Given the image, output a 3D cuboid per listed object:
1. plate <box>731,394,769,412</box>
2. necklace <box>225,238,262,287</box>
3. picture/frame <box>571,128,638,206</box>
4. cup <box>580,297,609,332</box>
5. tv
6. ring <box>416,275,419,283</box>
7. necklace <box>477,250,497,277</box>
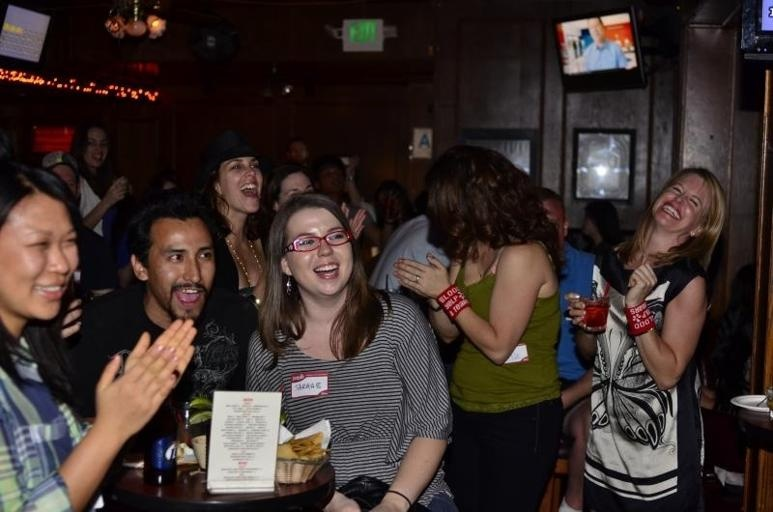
[{"bbox_3d":[2.067,0.836,3.525,0.179,0.064,0.244,1,4,28],"label":"plate"},{"bbox_3d":[-1.031,0.046,4.444,0.177,0.349,0.072,-8,-20,-46],"label":"necklace"},{"bbox_3d":[2.520,-1.005,7.046,0.923,1.139,0.075,1,1,4],"label":"picture/frame"},{"bbox_3d":[1.171,0.334,3.442,0.200,0.203,0.107,-3,5,-27],"label":"cup"},{"bbox_3d":[2.262,-2.140,6.480,0.930,0.846,0.310,-4,14,36],"label":"tv"},{"bbox_3d":[0.172,0.124,3.397,0.008,0.032,0.023,2,-6,-44],"label":"ring"},{"bbox_3d":[0.553,0.035,3.361,0.078,0.129,0.130,4,-40,-3],"label":"necklace"}]
